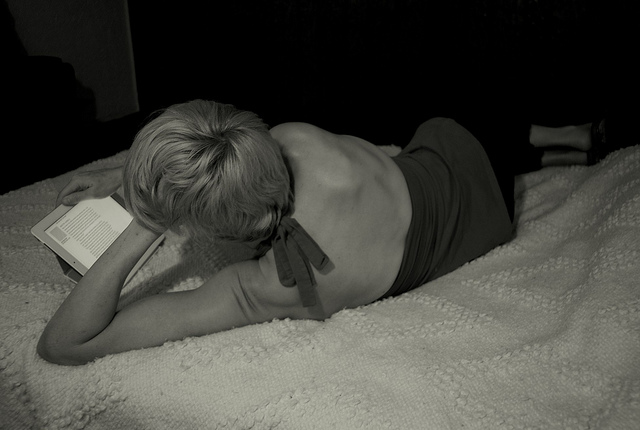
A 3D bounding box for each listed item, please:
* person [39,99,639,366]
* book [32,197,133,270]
[{"bbox_3d":[0.092,-0.016,1.447,1.447,0.557,0.612,-9,75,3],"label":"person"},{"bbox_3d":[-0.654,0.051,1.484,0.044,0.150,0.202,-22,18,44],"label":"book"}]
